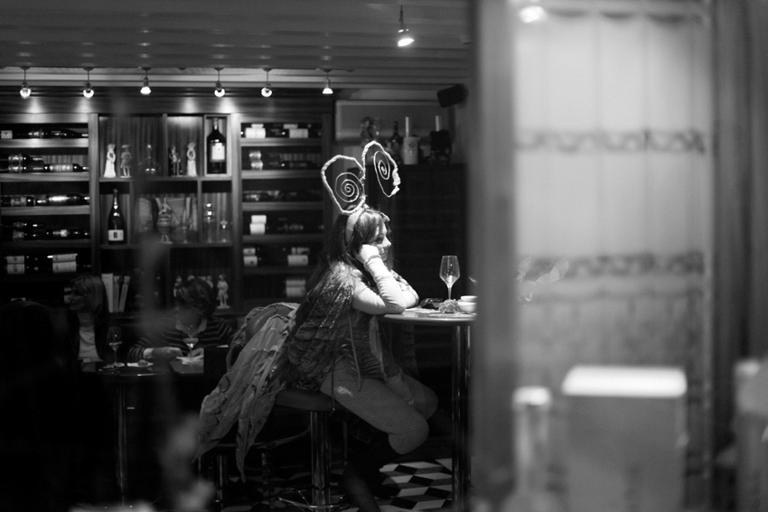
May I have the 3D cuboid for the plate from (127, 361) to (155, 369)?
[{"bbox_3d":[-1.104,0.494,3.884,0.116,0.015,0.150,-2,5,-18],"label":"plate"}]

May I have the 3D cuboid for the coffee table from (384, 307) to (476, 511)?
[{"bbox_3d":[0.191,0.660,3.577,0.353,0.895,0.556,0,4,2],"label":"coffee table"}]

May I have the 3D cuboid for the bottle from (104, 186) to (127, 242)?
[{"bbox_3d":[-2.055,-0.304,6.523,0.119,0.415,0.117,0,4,0],"label":"bottle"}]

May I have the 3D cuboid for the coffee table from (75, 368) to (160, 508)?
[{"bbox_3d":[-1.204,0.829,4.012,0.265,0.690,0.580,-2,4,-17],"label":"coffee table"}]

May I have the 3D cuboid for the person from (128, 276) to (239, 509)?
[{"bbox_3d":[-1.087,0.560,4.809,0.612,0.837,0.425,-3,11,-17],"label":"person"}]

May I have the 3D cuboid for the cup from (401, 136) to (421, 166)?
[{"bbox_3d":[0.184,-0.783,6.321,0.135,0.201,0.110,1,4,15],"label":"cup"}]

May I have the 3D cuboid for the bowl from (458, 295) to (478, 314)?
[{"bbox_3d":[0.363,0.200,3.642,0.121,0.053,0.140,0,-2,3],"label":"bowl"}]
